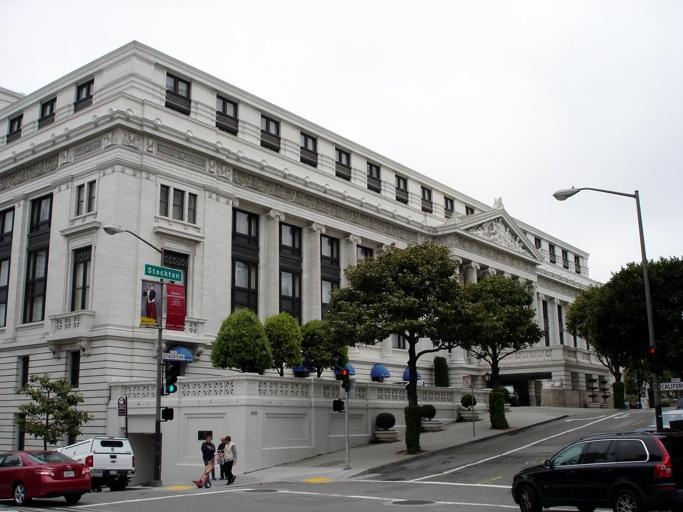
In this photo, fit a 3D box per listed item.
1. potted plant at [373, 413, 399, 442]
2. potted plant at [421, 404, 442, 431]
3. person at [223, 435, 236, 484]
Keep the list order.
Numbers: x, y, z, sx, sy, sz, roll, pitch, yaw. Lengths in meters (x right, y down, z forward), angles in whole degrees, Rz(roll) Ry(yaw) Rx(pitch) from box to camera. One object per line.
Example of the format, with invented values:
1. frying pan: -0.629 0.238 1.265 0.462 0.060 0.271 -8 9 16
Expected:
1. potted plant: 3.049 10.891 49.728 1.864 1.931 1.602 7 -22 -22
2. potted plant: 6.118 11.019 53.163 1.291 1.942 2.628 -4 -18 5
3. person: -5.438 9.845 37.841 0.544 2.259 1.251 0 -18 -8
